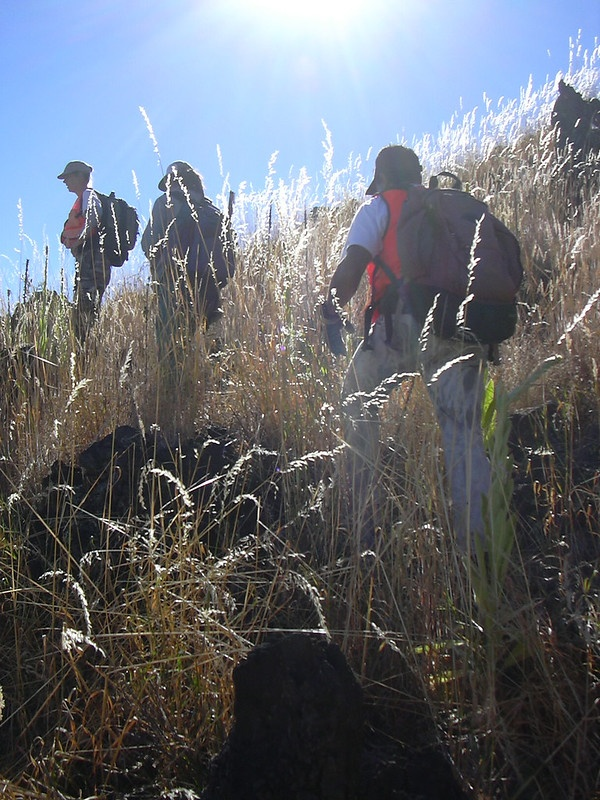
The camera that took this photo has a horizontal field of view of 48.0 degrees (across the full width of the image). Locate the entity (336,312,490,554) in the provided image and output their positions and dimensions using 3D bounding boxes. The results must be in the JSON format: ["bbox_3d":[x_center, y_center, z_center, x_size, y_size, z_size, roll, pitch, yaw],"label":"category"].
[{"bbox_3d":[0.398,0.116,2.318,0.356,0.282,1.173,-15,35,18],"label":"entity"}]

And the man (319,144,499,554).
[{"bbox_3d":[0.449,-0.176,2.722,0.481,1.785,0.536,-7,-11,27],"label":"man"}]

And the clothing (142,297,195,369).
[{"bbox_3d":[-0.708,-0.385,3.712,0.284,0.333,0.367,-5,-4,17],"label":"clothing"}]

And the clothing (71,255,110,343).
[{"bbox_3d":[-1.681,-0.886,5.582,0.203,0.296,0.901,-13,-13,-16],"label":"clothing"}]

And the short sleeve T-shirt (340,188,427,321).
[{"bbox_3d":[0.330,-0.712,2.696,0.297,0.319,0.545,-3,-42,-1],"label":"short sleeve T-shirt"}]

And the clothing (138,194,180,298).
[{"bbox_3d":[-0.816,-0.946,4.005,0.117,0.708,0.162,-3,-12,-14],"label":"clothing"}]

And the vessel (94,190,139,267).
[{"bbox_3d":[-1.552,-1.444,5.793,0.281,0.680,0.311,-9,22,-19],"label":"vessel"}]
